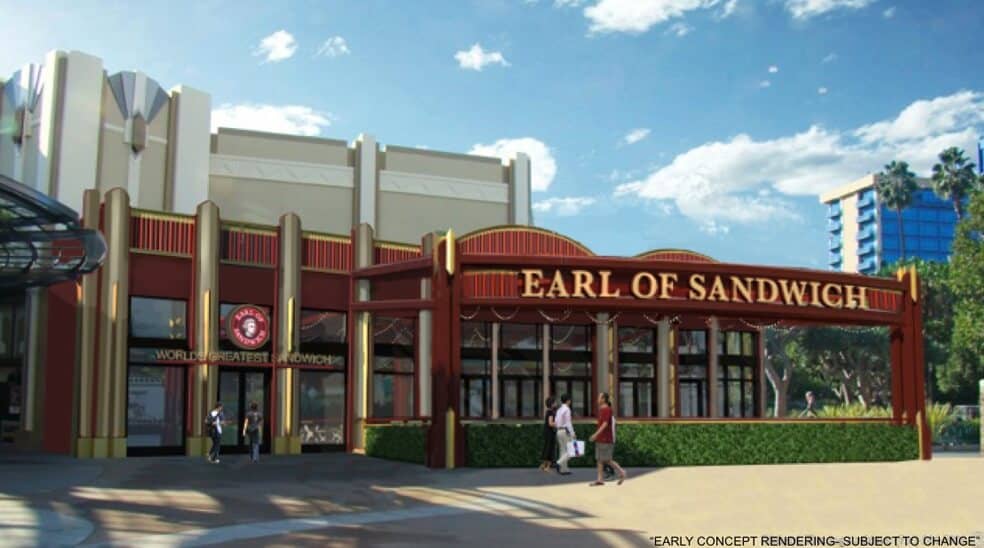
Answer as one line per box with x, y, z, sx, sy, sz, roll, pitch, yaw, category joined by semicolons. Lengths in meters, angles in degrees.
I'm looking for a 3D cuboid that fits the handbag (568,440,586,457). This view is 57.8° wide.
3.336;6.817;34.748;0.644;0.605;0.366;-1;6;-13;handbag

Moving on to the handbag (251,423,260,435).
-10.483;6.840;39.231;0.376;0.633;0.495;-7;-13;26;handbag
